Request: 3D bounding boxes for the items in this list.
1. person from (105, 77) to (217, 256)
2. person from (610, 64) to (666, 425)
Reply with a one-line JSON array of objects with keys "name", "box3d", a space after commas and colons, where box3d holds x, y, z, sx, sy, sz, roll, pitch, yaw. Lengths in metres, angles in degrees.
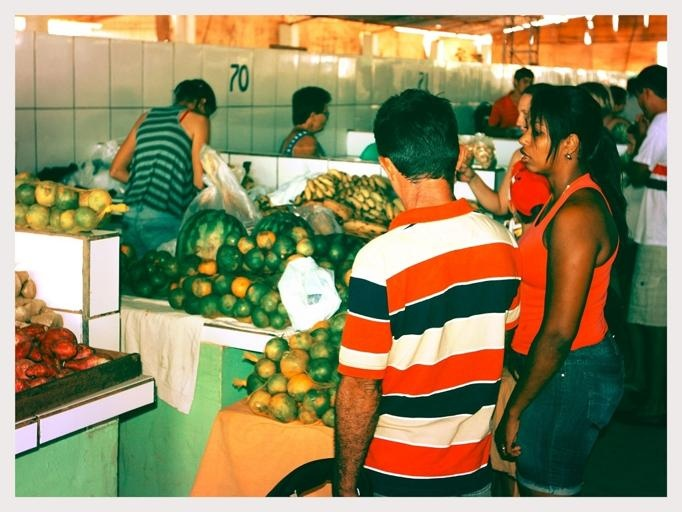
[{"name": "person", "box3d": [-1.183, -0.268, 3.849, 0.639, 1.792, 0.634, 10, 15, 5]}, {"name": "person", "box3d": [2.095, -0.542, 3.858, 0.324, 1.256, 0.413, -1, 31, 23]}]
